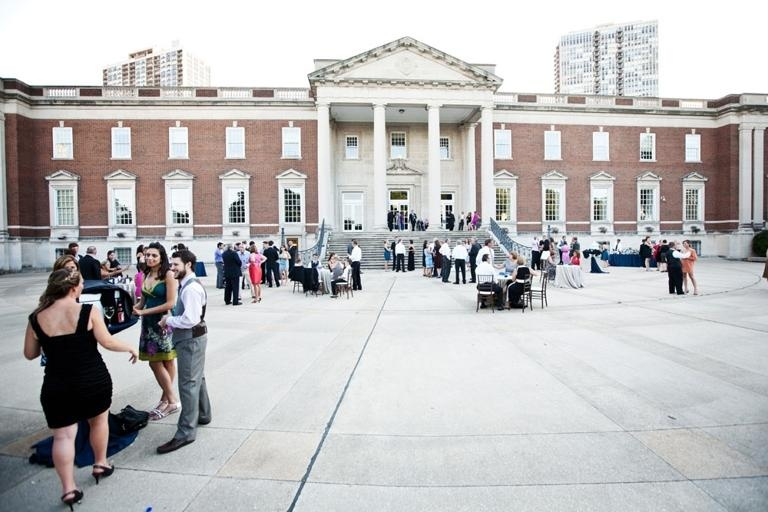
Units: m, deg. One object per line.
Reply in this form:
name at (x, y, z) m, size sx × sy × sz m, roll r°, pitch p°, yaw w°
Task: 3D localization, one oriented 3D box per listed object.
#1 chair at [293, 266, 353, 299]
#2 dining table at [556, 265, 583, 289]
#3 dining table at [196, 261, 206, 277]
chair at (-2.362, 1.047, 27.111) m, size 1.731 × 1.089 × 1.398 m, roll -6°, pitch -5°, yaw 40°
dining table at (8.227, 0.918, 28.890) m, size 1.222 × 1.005 × 0.708 m, roll -1°, pitch 3°, yaw 25°
dining table at (-8.987, 0.676, 31.506) m, size 0.720 × 0.719 × 0.730 m, roll -1°, pitch -2°, yaw -1°
